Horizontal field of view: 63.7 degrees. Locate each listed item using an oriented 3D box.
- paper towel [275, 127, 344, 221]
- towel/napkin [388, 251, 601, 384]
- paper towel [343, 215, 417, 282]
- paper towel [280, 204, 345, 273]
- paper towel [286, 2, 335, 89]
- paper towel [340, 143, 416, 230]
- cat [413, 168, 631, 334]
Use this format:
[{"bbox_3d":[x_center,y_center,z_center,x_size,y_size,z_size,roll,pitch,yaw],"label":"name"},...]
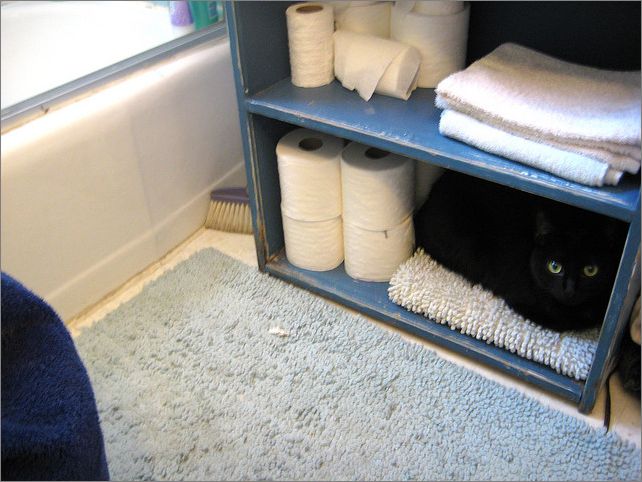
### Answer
[{"bbox_3d":[-0.025,-0.149,1.191,0.179,0.166,0.194,12,39,18],"label":"paper towel"},{"bbox_3d":[0.345,0.106,1.015,0.316,0.090,0.203,27,47,28],"label":"towel/napkin"},{"bbox_3d":[0.116,0.006,1.225,0.126,0.158,0.135,2,3,-23],"label":"paper towel"},{"bbox_3d":[-0.021,0.001,1.273,0.130,0.150,0.135,-1,29,4],"label":"paper towel"},{"bbox_3d":[-0.021,-0.407,1.050,0.117,0.188,0.111,2,35,4],"label":"paper towel"},{"bbox_3d":[0.120,-0.106,1.177,0.175,0.168,0.169,-16,41,-14],"label":"paper towel"},{"bbox_3d":[0.404,0.020,1.103,0.346,0.151,0.248,28,88,31],"label":"cat"}]
